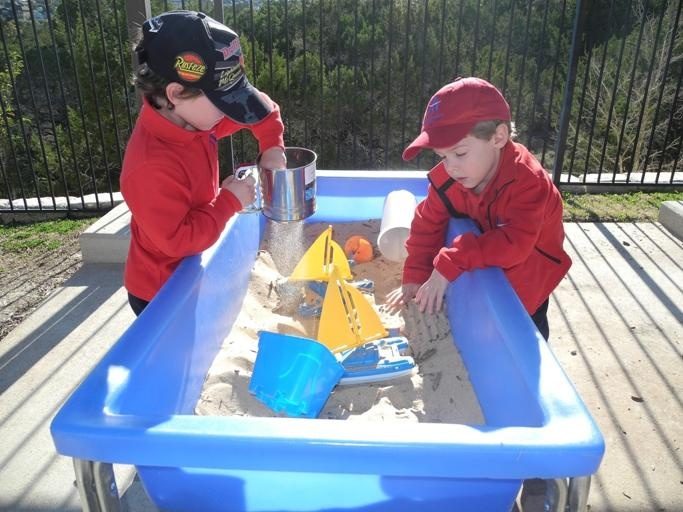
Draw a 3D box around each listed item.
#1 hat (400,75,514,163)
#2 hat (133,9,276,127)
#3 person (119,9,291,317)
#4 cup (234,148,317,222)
[{"bbox_3d":[0.527,-0.651,2.284,0.516,0.351,0.375,-14,7,-22],"label":"hat"},{"bbox_3d":[-0.534,-0.815,2.058,0.548,0.320,0.381,20,29,-3],"label":"hat"},{"bbox_3d":[-0.704,-0.099,2.399,0.694,1.908,0.674,-9,37,-26],"label":"person"},{"bbox_3d":[-0.317,-0.379,2.445,0.412,0.316,0.276,12,23,30],"label":"cup"}]
